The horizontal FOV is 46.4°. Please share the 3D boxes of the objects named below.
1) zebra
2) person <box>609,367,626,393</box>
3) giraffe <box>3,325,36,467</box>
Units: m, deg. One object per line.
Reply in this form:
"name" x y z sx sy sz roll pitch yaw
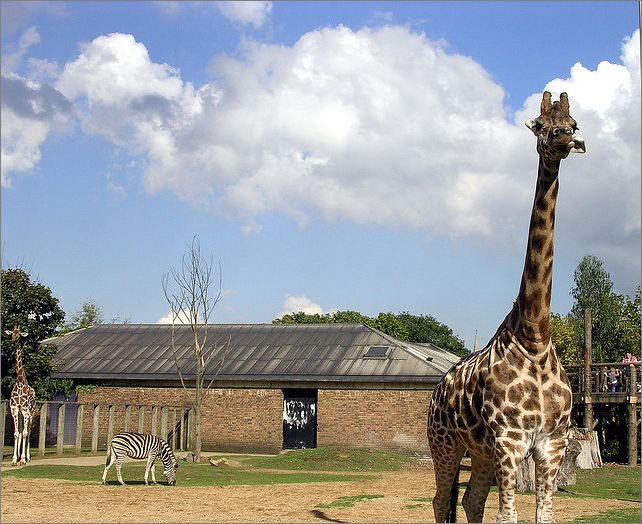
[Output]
"zebra" -4.828 5.238 19.882 1.845 1.329 1.598 8 -14 -31
"person" 11.062 4.439 28.027 0.573 0.969 2.459 -4 -13 21
"giraffe" -9.686 4.256 24.167 0.800 4.398 2.450 4 -12 -20
